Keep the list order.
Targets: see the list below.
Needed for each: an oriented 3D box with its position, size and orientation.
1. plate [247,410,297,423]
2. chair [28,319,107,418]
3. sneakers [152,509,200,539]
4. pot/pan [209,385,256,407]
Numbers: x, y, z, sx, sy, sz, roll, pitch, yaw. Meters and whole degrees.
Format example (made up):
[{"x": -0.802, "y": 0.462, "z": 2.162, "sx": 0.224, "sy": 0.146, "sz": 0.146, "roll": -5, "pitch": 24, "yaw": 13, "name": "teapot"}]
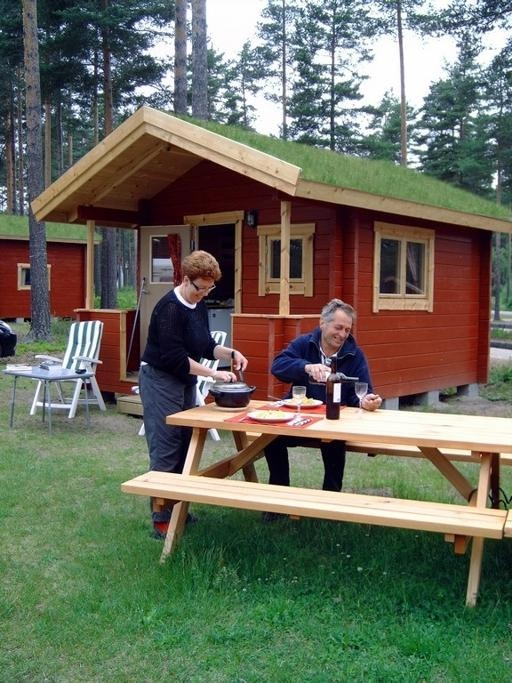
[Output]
[{"x": 0.078, "y": 0.378, "z": 3.066, "sx": 0.242, "sy": 0.044, "sz": 0.285, "roll": -1, "pitch": 1, "yaw": 11, "name": "plate"}, {"x": -2.424, "y": 0.359, "z": 7.753, "sx": 0.891, "sy": 1.157, "sz": 0.872, "roll": -2, "pitch": 5, "yaw": -40, "name": "chair"}, {"x": -0.500, "y": 1.066, "z": 3.528, "sx": 0.137, "sy": 0.136, "sz": 0.179, "roll": -2, "pitch": -4, "yaw": 19, "name": "sneakers"}, {"x": -0.143, "y": 0.303, "z": 3.417, "sx": 0.207, "sy": 0.107, "sz": 0.131, "roll": -1, "pitch": -2, "yaw": -11, "name": "pot/pan"}]
